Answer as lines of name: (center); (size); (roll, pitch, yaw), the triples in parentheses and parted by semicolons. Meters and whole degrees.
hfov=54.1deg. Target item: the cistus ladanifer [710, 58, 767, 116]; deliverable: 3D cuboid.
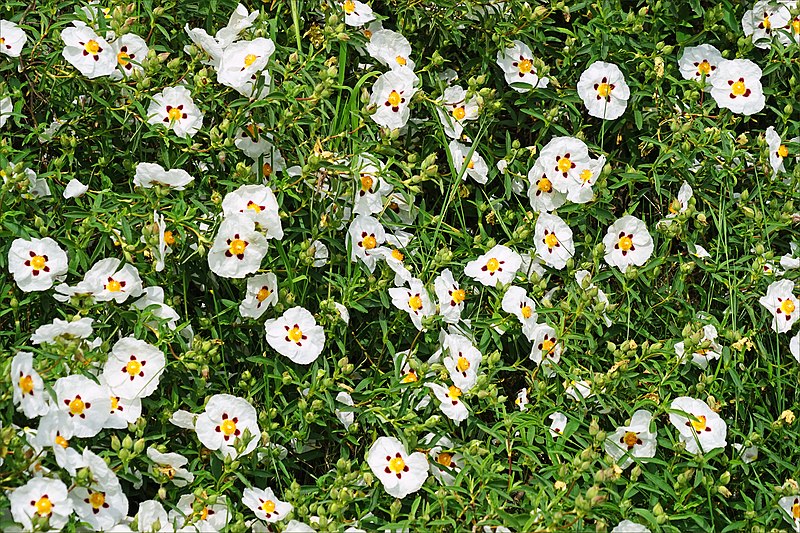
cistus ladanifer: (1.510, -0.809, 3.575); (0.249, 0.241, 0.097); (29, -3, 6)

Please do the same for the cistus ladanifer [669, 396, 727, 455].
cistus ladanifer: (1.179, 0.620, 3.101); (0.184, 0.234, 0.120); (-30, -3, -1)

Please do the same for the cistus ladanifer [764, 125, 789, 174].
cistus ladanifer: (1.675, -0.520, 3.496); (0.071, 0.186, 0.178); (-1, 27, 32)
